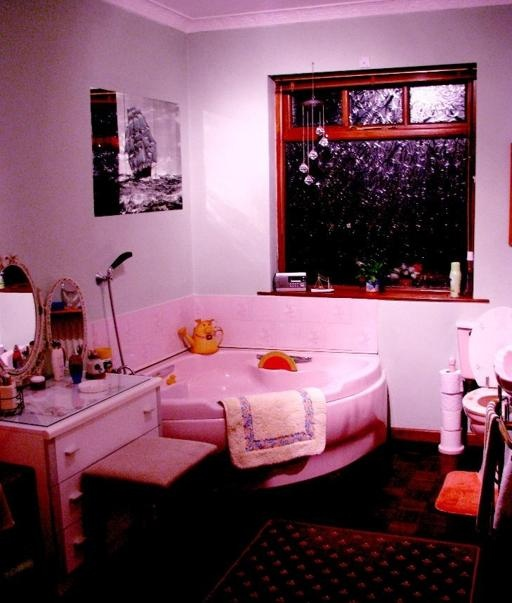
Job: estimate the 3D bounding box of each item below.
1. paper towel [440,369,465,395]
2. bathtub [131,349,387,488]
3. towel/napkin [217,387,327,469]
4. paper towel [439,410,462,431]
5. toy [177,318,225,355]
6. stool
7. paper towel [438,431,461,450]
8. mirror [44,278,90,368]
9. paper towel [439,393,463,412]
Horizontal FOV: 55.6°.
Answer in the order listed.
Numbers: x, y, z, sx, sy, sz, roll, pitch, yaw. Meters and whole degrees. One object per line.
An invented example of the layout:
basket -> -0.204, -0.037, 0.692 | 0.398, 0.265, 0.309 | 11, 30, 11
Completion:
paper towel -> 1.176, 0.494, 2.941 | 0.131, 0.147, 0.137 | -1, 5, -1
bathtub -> 0.148, 0.578, 2.989 | 0.995, 0.389, 0.802 | 0, 8, 25
towel/napkin -> 0.081, 0.631, 2.384 | 0.378, 0.276, 0.137 | -4, -1, -15
paper towel -> 1.183, 0.726, 2.989 | 0.104, 0.119, 0.111 | 0, 3, 0
toy -> -0.396, 0.176, 3.502 | 0.338, 0.266, 0.218 | 3, 10, 14
stool -> -0.365, 0.597, 1.753 | 0.332, 0.386, 0.450 | 5, 13, 22
paper towel -> 1.188, 0.868, 2.992 | 0.116, 0.117, 0.120 | 4, 10, 32
mirror -> -0.903, 0.105, 2.303 | 0.113, 0.429, 0.299 | -1, 3, 0
paper towel -> 1.188, 0.614, 2.966 | 0.101, 0.082, 0.106 | -1, 4, -4
